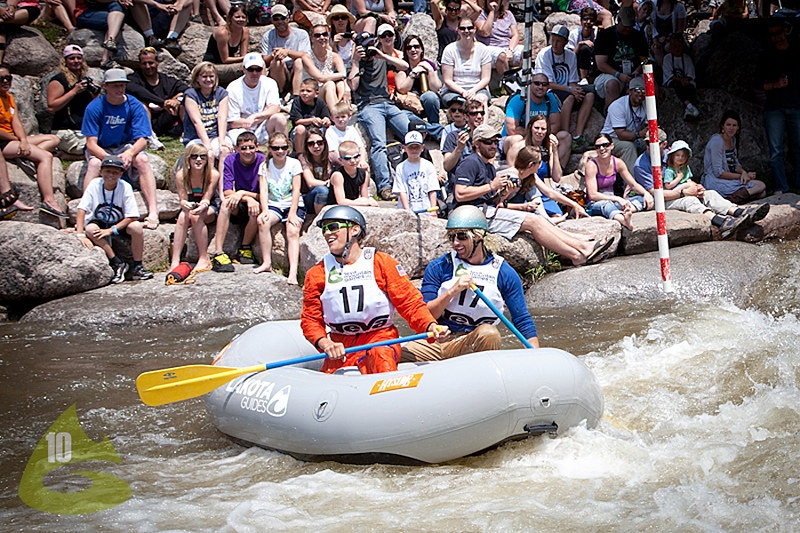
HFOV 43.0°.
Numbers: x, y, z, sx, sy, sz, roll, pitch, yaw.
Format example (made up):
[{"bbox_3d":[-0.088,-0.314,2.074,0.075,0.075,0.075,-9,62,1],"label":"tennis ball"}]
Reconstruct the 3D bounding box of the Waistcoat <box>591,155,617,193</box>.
[{"bbox_3d":[3.249,-1.429,16.264,0.450,0.559,0.127,-7,9,-28],"label":"Waistcoat"}]

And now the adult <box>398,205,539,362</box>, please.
[{"bbox_3d":[0.784,0.301,12.107,1.777,2.110,1.113,1,15,16],"label":"adult"}]

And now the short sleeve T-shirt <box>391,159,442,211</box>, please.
[{"bbox_3d":[0.251,-1.267,16.119,0.689,0.865,0.470,-8,31,-5],"label":"short sleeve T-shirt"}]

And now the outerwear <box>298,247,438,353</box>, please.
[{"bbox_3d":[-0.137,0.454,12.296,0.994,1.346,0.366,-12,-32,3],"label":"outerwear"}]

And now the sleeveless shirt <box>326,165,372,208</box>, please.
[{"bbox_3d":[-0.727,-1.147,15.852,0.487,0.781,0.694,-2,-3,-16],"label":"sleeveless shirt"}]

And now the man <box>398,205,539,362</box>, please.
[{"bbox_3d":[0.783,0.309,12.101,1.797,2.179,1.235,0,18,13],"label":"man"}]

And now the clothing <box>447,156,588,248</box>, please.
[{"bbox_3d":[1.586,-0.896,15.271,1.610,0.977,0.827,19,43,1],"label":"clothing"}]

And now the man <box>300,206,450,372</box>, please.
[{"bbox_3d":[-0.339,0.334,12.645,1.448,2.403,1.133,-3,16,14],"label":"man"}]

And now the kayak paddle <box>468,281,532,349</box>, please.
[{"bbox_3d":[1.182,0.595,12.218,0.119,1.001,0.086,-30,-10,-37],"label":"kayak paddle"}]

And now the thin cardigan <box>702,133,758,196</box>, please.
[{"bbox_3d":[5.413,-1.619,16.742,0.841,1.089,0.632,5,6,43],"label":"thin cardigan"}]

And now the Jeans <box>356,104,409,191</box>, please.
[{"bbox_3d":[-0.260,-2.095,17.087,0.323,1.343,1.041,-25,-21,32],"label":"Jeans"}]

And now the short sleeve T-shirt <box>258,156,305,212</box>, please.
[{"bbox_3d":[-1.874,-1.303,16.181,0.838,1.036,0.636,-2,4,-9],"label":"short sleeve T-shirt"}]
